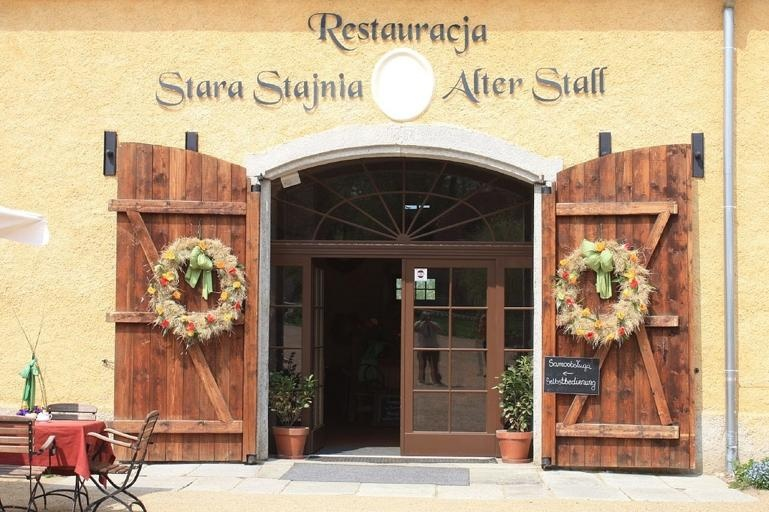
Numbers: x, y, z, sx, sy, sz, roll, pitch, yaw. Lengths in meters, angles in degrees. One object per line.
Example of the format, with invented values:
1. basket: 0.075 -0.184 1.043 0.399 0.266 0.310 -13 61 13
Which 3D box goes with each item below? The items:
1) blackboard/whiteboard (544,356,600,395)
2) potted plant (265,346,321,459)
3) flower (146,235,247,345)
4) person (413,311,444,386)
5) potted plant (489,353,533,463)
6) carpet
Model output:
1. blackboard/whiteboard: 2.287 1.443 15.112 0.665 0.475 0.093 -1 -4 0
2. potted plant: -1.179 1.881 15.774 0.585 1.314 0.413 0 -4 -3
3. flower: -2.292 0.387 15.232 1.305 1.276 0.568 2 -1 -7
4. person: 0.559 1.158 15.721 0.380 0.896 0.291 0 2 0
5. potted plant: 1.632 1.906 15.618 0.485 1.309 0.363 -1 -4 4
6. carpet: -0.082 2.614 15.029 2.228 0.210 0.860 -1 -4 4
